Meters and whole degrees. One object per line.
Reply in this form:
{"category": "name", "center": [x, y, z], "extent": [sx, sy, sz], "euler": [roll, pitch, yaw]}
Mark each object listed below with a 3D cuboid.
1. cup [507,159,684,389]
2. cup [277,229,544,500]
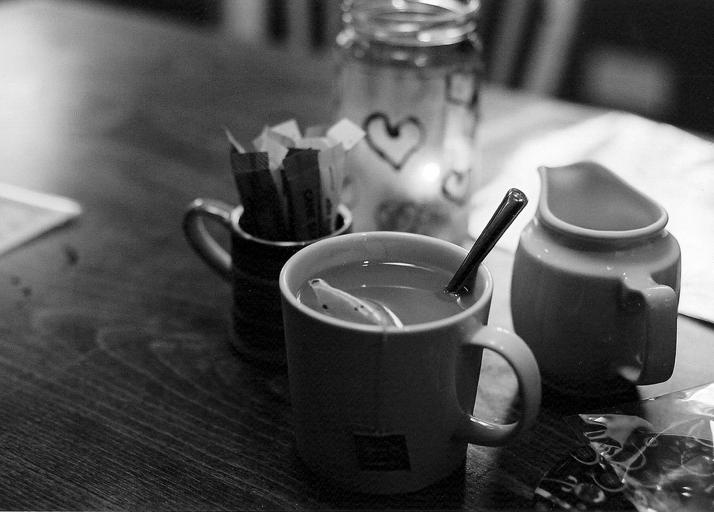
{"category": "cup", "center": [0.137, 0.005, 0.531], "extent": [0.124, 0.134, 0.184], "euler": [-5, 34, -5]}
{"category": "cup", "center": [0.035, 0.079, 0.460], "extent": [0.190, 0.130, 0.138], "euler": [18, 29, 37]}
